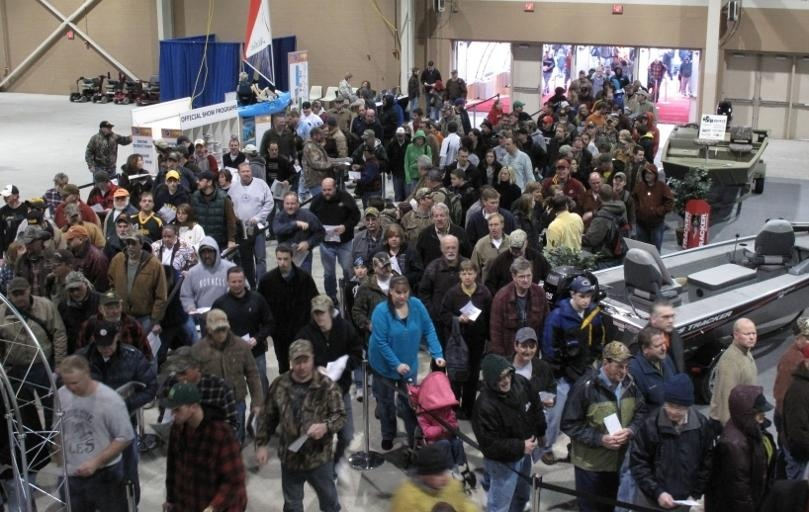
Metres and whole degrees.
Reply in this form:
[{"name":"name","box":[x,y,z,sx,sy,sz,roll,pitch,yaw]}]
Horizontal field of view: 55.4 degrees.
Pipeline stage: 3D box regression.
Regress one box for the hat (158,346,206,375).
[{"name":"hat","box":[-2.498,1.218,8.639,0.436,0.311,1.113,-2,5,-17]}]

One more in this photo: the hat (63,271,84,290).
[{"name":"hat","box":[-4.033,0.291,9.428,0.171,0.144,0.237,-8,-3,-11]}]

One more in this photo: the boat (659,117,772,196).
[{"name":"boat","box":[7.583,-2.382,18.950,2.198,1.688,3.520,2,5,29]}]

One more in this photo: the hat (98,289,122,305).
[{"name":"hat","box":[-3.437,0.496,8.985,0.261,0.151,0.185,0,4,3]}]

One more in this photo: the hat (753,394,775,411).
[{"name":"hat","box":[3.703,1.530,7.974,0.289,0.207,0.095,-5,6,-44]}]

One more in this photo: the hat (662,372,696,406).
[{"name":"hat","box":[2.810,1.369,7.900,0.258,0.307,0.353,10,1,21]}]

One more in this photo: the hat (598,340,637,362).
[{"name":"hat","box":[2.304,1.055,8.419,0.234,0.247,0.205,-1,8,19]}]

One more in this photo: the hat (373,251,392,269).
[{"name":"hat","box":[-0.307,0.041,10.122,0.158,0.134,0.237,-4,-3,-33]}]

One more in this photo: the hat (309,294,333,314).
[{"name":"hat","box":[-0.995,0.584,9.200,0.277,0.199,0.267,-1,5,0]}]

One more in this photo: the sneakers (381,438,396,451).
[{"name":"sneakers","box":[-0.224,2.480,10.131,0.192,0.153,0.161,-2,5,-15]}]

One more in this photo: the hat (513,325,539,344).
[{"name":"hat","box":[1.378,0.924,8.966,0.224,0.158,0.285,-2,5,-14]}]

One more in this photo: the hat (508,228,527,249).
[{"name":"hat","box":[1.538,-0.236,10.471,0.173,0.164,0.263,1,29,17]}]

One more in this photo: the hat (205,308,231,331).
[{"name":"hat","box":[-2.226,0.799,9.169,0.218,0.265,0.266,-7,-33,-31]}]

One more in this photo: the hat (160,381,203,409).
[{"name":"hat","box":[-2.184,1.353,7.507,0.301,0.190,0.225,4,11,-8]}]

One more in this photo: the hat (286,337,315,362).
[{"name":"hat","box":[-1.103,1.007,8.184,0.227,0.200,0.221,-2,5,-15]}]

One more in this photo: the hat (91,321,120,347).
[{"name":"hat","box":[-3.309,0.858,8.568,0.198,0.155,0.285,0,20,-9]}]

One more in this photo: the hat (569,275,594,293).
[{"name":"hat","box":[2.188,0.350,9.576,0.185,0.166,0.269,-6,-2,-23]}]
